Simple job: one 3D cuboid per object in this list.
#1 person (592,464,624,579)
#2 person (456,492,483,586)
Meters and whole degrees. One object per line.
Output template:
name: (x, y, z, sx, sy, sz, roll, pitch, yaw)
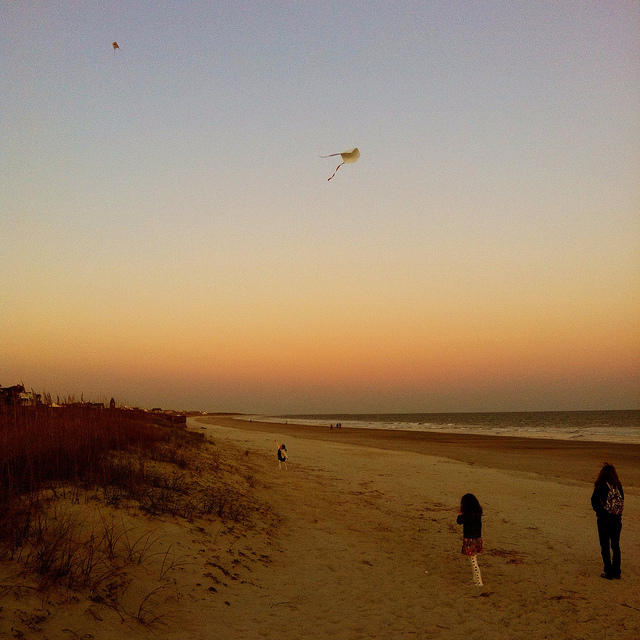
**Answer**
person: (4.730, 3.304, 11.507, 0.471, 1.843, 0.637, 2, -2, 24)
person: (2.412, 3.447, 11.115, 0.416, 1.452, 0.922, 3, -2, 17)
